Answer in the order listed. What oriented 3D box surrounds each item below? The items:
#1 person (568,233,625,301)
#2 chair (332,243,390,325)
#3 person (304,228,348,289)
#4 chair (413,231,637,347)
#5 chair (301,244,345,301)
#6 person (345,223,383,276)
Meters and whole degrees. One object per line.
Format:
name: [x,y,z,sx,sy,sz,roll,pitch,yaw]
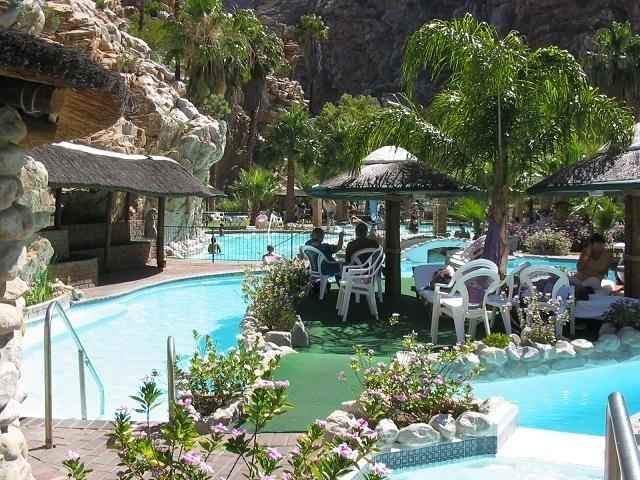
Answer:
person: [4.467,0.426,8.755,0.723,1.129,0.804,14,2,41]
chair: [0.761,0.759,9.882,0.961,1.771,1.234,1,1,-10]
person: [0.051,0.618,11.192,0.771,1.109,0.793,-3,6,-20]
chair: [3.045,0.982,8.124,2.924,1.242,1.496,4,-2,-23]
chair: [0.034,0.560,11.310,0.948,1.426,0.891,-8,13,-34]
person: [0.770,0.107,10.422,0.801,1.190,0.641,-3,15,-3]
